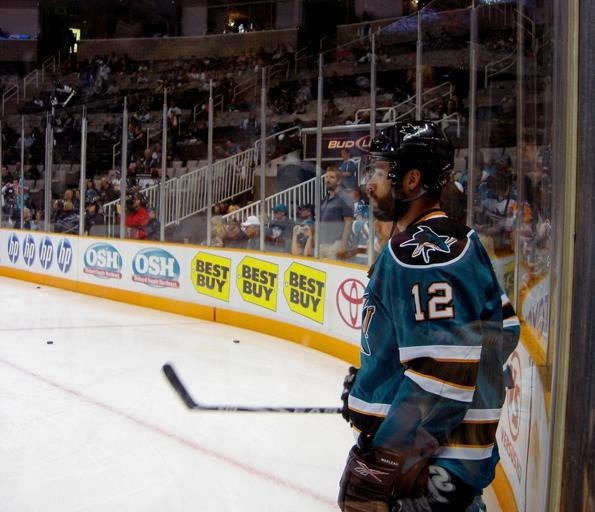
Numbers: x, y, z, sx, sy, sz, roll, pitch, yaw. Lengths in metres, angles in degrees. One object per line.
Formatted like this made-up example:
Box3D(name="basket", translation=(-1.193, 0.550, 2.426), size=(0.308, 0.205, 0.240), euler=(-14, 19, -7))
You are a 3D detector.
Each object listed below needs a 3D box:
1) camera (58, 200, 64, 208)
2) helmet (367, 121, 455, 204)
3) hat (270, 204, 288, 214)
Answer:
Box3D(name="camera", translation=(-3.800, -0.842, 13.096), size=(0.091, 0.120, 0.126), euler=(4, 23, -12))
Box3D(name="helmet", translation=(0.394, -0.334, 2.763), size=(0.275, 0.246, 0.242), euler=(-4, 10, -7))
Box3D(name="hat", translation=(-0.188, -0.499, 8.571), size=(0.123, 0.069, 0.093), euler=(15, 7, 8))
